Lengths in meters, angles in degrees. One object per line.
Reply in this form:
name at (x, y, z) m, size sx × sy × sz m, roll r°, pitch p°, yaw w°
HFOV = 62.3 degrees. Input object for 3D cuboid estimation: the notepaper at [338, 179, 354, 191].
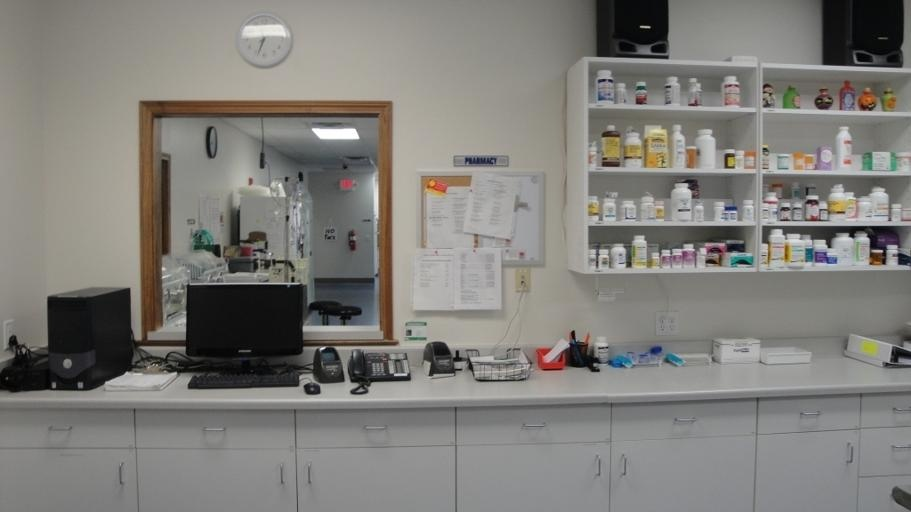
notepaper at (-1.709, -1.143, 11.944) m, size 0.212 × 0.177 × 0.047 m, roll 0°, pitch -2°, yaw -16°

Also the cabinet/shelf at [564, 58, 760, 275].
cabinet/shelf at (1.535, -0.701, 5.673) m, size 1.829 × 1.791 × 0.565 m, roll 0°, pitch 5°, yaw -5°

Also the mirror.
mirror at (-1.849, -0.380, 7.335) m, size 2.663 × 2.299 × 0.189 m, roll 0°, pitch 1°, yaw 0°

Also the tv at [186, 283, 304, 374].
tv at (-1.576, 0.518, 5.643) m, size 0.739 × 0.470 × 0.200 m, roll 0°, pitch -3°, yaw -2°

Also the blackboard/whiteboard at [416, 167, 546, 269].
blackboard/whiteboard at (0.243, -0.286, 5.689) m, size 1.077 × 0.675 × 0.210 m, roll 0°, pitch 4°, yaw -1°
